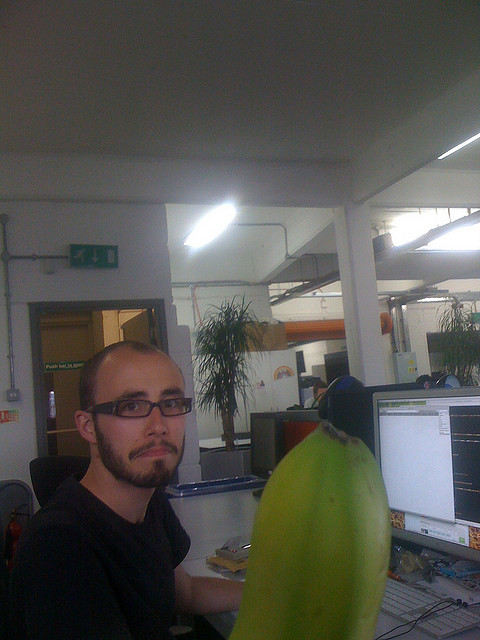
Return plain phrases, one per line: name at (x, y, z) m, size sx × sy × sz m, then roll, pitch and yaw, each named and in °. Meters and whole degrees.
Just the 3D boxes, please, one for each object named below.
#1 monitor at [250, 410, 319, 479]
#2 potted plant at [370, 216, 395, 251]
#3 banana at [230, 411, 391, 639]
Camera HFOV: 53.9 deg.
monitor at (0.243, 0.722, 2.655) m, size 0.361 × 0.386 × 0.360 m, roll 14°, pitch -15°, yaw -30°
potted plant at (2.142, -1.238, 6.975) m, size 0.329 × 0.440 × 0.925 m, roll -7°, pitch -3°, yaw 20°
banana at (0.017, 0.072, 0.172) m, size 0.031 × 0.115 × 0.043 m, roll 4°, pitch 32°, yaw -3°
